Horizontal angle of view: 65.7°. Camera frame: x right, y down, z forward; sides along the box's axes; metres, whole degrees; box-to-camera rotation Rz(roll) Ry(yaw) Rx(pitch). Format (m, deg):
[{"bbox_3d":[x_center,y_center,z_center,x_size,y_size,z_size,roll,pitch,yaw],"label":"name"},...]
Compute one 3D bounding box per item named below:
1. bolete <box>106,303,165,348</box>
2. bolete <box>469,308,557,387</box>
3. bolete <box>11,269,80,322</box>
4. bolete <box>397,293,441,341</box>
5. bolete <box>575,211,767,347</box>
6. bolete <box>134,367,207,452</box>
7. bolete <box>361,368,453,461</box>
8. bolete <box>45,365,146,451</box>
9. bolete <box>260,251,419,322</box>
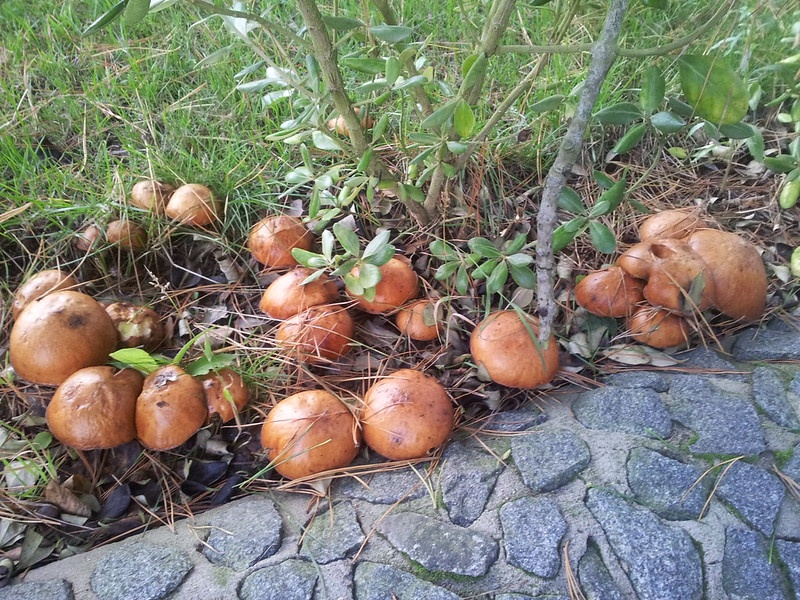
[{"bbox_3d":[-1.095,0.133,2.630,0.238,0.106,0.196,17,31,-27],"label":"bolete"},{"bbox_3d":[0.447,0.192,2.433,0.320,0.198,0.270,32,60,29],"label":"bolete"},{"bbox_3d":[-1.461,-0.014,2.619,0.267,0.125,0.222,6,49,22],"label":"bolete"},{"bbox_3d":[0.077,0.069,2.624,0.187,0.214,0.192,-7,50,2],"label":"bolete"},{"bbox_3d":[1.198,-0.061,2.635,0.647,0.207,0.605,31,69,28],"label":"bolete"},{"bbox_3d":[-0.851,0.401,2.313,0.094,0.318,0.280,-22,49,55],"label":"bolete"},{"bbox_3d":[-0.002,0.461,2.434,0.352,0.181,0.345,-36,60,-17],"label":"bolete"},{"bbox_3d":[-1.135,0.436,2.383,0.310,0.339,0.295,-5,51,4],"label":"bolete"},{"bbox_3d":[-0.256,-0.058,2.605,0.562,0.127,0.288,-6,25,-5],"label":"bolete"}]
